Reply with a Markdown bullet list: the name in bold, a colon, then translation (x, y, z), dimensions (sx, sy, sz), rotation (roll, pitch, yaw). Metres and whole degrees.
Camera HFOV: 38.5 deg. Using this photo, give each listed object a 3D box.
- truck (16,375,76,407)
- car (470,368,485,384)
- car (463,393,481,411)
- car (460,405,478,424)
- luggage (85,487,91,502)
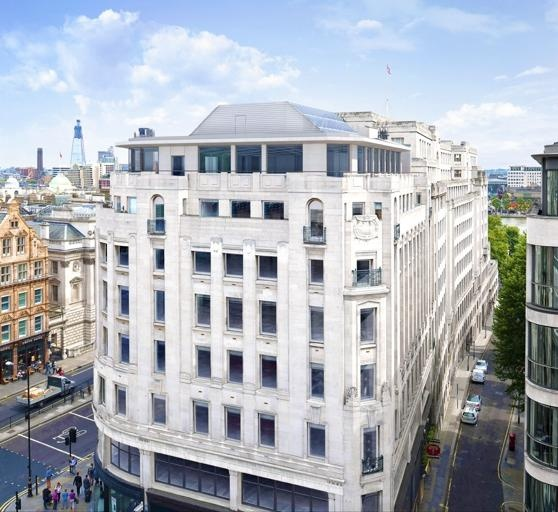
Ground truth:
- **truck**: translation (-27.135, 16.557, 93.058), dimensions (3.412, 2.946, 7.484), rotation (6, 15, 35)
- **car**: translation (25.761, 15.605, 103.711), dimensions (1.735, 1.345, 2.353), rotation (4, 14, 17)
- **car**: translation (22.739, 17.121, 93.637), dimensions (1.016, 0.970, 2.601), rotation (1, 14, 20)
- **car**: translation (21.472, 17.970, 90.345), dimensions (1.867, 1.235, 2.595), rotation (6, 14, 21)
- **luggage**: translation (-17.309, 21.537, 72.246), dimensions (0.520, 1.040, 0.672), rotation (-3, 13, -16)
